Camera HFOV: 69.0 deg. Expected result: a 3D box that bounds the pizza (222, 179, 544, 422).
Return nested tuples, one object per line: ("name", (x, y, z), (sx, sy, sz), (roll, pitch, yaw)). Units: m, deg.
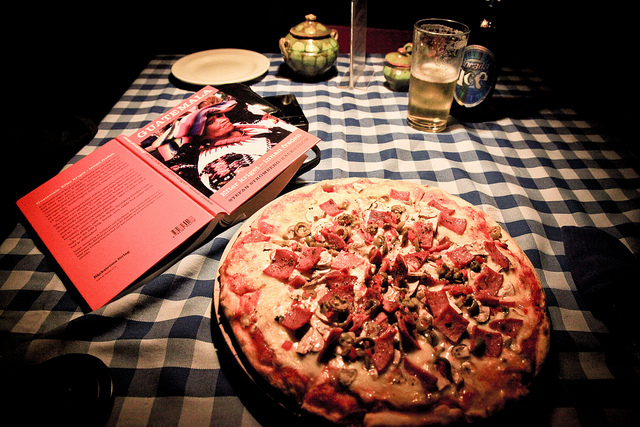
("pizza", (0.214, 0.278, 1.656), (1.144, 0.204, 0.816), (4, 58, 5))
